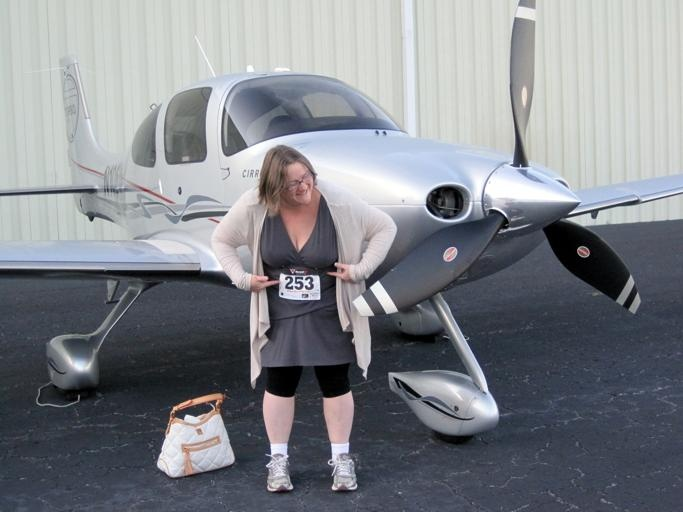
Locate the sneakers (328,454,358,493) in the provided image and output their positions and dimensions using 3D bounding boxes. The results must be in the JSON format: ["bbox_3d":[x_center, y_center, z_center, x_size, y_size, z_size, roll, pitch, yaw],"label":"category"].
[{"bbox_3d":[0.011,1.041,3.092,0.146,0.101,0.283,3,15,0],"label":"sneakers"}]

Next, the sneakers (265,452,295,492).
[{"bbox_3d":[-0.299,1.053,3.076,0.105,0.091,0.228,0,-6,-4],"label":"sneakers"}]

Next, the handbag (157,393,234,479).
[{"bbox_3d":[-0.755,0.965,3.332,0.473,0.360,0.256,-7,10,-32],"label":"handbag"}]

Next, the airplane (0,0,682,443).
[{"bbox_3d":[-0.504,-0.463,4.342,4.144,1.513,3.776,-7,8,-41],"label":"airplane"}]

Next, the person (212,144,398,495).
[{"bbox_3d":[-0.181,0.306,2.972,0.857,1.651,0.481,0,20,3],"label":"person"}]
